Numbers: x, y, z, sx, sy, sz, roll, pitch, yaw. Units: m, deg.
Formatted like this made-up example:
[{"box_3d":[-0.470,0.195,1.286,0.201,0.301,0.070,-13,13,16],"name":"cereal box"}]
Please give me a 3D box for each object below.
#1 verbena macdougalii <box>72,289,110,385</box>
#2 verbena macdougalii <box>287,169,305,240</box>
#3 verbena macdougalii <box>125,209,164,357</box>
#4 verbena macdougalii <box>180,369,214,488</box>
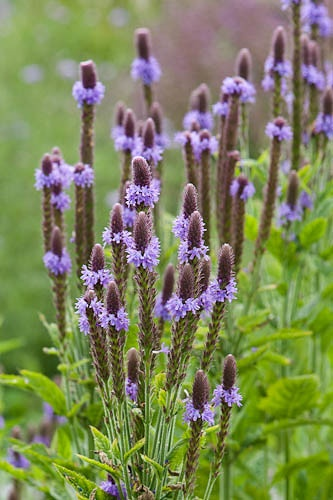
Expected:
[{"box_3d":[-0.128,0.152,1.817,0.057,0.180,0.050,-1,14,-6],"name":"verbena macdougalii"},{"box_3d":[0.295,-0.116,2.352,0.035,0.153,0.103,7,17,23],"name":"verbena macdougalii"},{"box_3d":[-0.040,0.056,1.807,0.058,0.263,0.075,-2,15,-11],"name":"verbena macdougalii"},{"box_3d":[0.057,0.309,1.802,0.051,0.242,0.070,1,14,2],"name":"verbena macdougalii"}]
